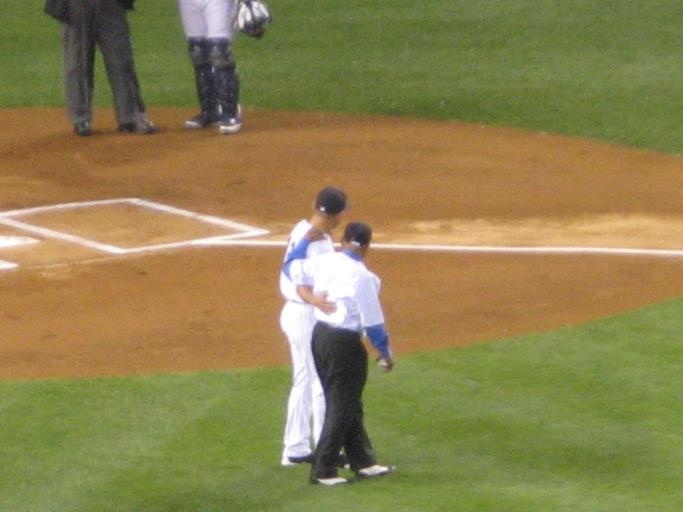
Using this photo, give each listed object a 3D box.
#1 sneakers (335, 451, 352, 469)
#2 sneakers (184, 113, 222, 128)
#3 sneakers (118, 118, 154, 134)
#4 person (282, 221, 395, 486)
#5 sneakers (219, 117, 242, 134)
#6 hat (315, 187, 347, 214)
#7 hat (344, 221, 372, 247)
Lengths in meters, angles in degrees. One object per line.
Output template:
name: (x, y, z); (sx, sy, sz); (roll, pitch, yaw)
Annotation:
sneakers: (0.004, 1.998, 18.020); (0.082, 0.145, 0.229); (-6, 16, -28)
sneakers: (-1.837, -1.809, 24.805); (0.414, 0.155, 0.194); (-4, 7, -34)
sneakers: (-2.668, -1.722, 24.336); (0.427, 0.170, 0.192); (0, 8, 23)
person: (0.019, 0.927, 17.782); (0.843, 2.441, 0.802); (-2, 17, -13)
sneakers: (-1.460, -1.724, 24.391); (0.275, 0.218, 0.646); (-1, 1, -2)
hat: (-0.072, -0.552, 18.003); (0.257, 0.267, 0.281); (14, 21, -3)
hat: (0.154, -0.216, 17.832); (0.220, 0.236, 0.251); (3, 11, 4)
